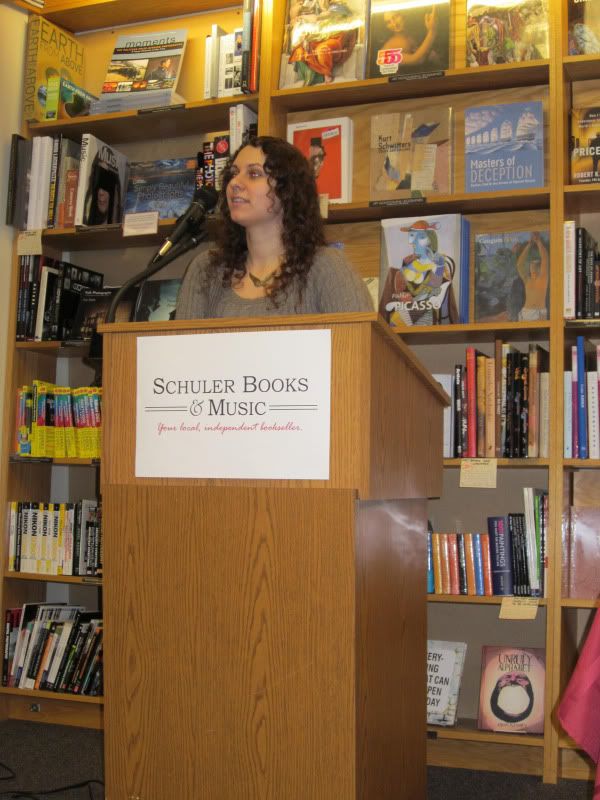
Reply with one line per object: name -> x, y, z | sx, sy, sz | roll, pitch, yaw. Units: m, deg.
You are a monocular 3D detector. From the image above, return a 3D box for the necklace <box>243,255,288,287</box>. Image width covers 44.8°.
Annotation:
necklace -> -0.066, -0.218, 1.278 | 0.042, 0.074, 0.021 | 39, -11, 9
